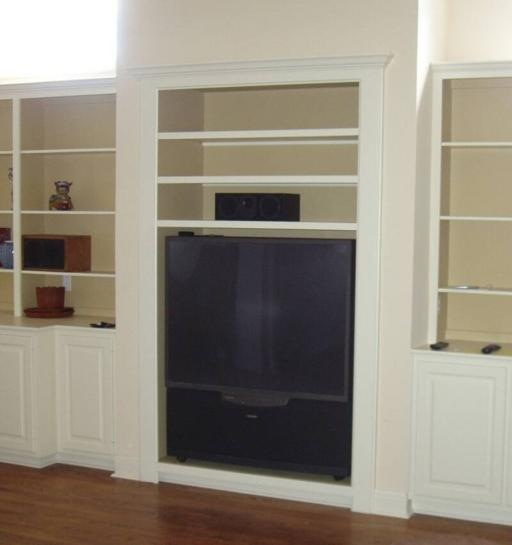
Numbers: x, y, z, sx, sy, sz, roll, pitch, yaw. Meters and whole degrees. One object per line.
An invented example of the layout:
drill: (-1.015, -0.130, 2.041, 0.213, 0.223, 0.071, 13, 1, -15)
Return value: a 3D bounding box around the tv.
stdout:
tv: (0.056, 0.256, 3.287, 0.871, 0.744, 0.120, 3, 0, 16)
